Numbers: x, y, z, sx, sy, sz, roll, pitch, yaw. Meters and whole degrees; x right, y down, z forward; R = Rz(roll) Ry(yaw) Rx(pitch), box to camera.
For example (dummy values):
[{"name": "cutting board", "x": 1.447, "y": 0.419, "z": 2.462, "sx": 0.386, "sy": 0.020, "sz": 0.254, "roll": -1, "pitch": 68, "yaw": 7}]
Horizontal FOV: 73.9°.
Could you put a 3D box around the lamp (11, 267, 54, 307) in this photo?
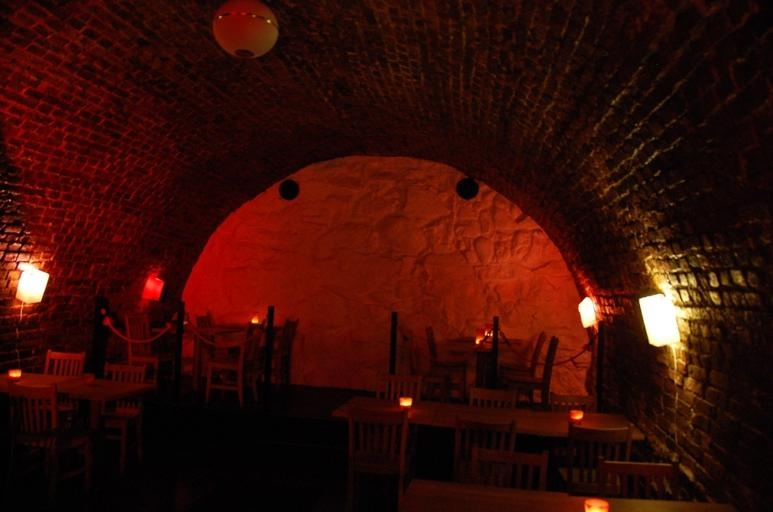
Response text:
[{"name": "lamp", "x": -4.707, "y": 0.385, "z": 6.828, "sx": 0.209, "sy": 0.558, "sz": 0.323, "roll": 11, "pitch": 15, "yaw": 21}]

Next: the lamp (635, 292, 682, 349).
[{"name": "lamp", "x": 2.642, "y": 0.609, "z": 4.991, "sx": 0.402, "sy": 0.486, "sz": 0.231, "roll": 12, "pitch": 15, "yaw": 23}]
